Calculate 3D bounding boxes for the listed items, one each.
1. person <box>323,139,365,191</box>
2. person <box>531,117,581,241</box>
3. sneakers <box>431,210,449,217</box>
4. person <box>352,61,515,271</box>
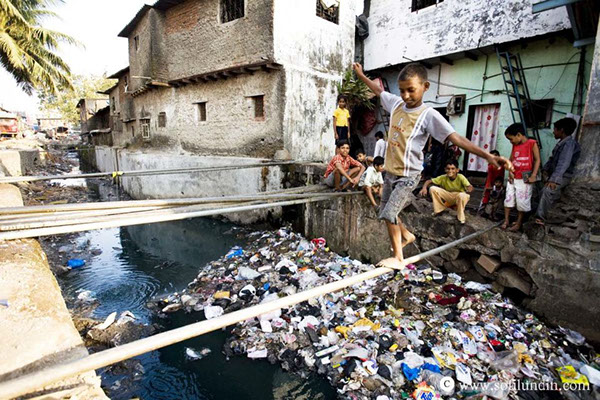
[{"bbox_3d":[0.829,-0.660,6.162,0.800,0.921,0.678,16,21,40],"label":"person"},{"bbox_3d":[3.824,-0.443,4.799,0.403,1.509,0.901,9,14,40],"label":"person"},{"bbox_3d":[2.350,0.220,5.502,0.295,0.106,0.118,4,0,19],"label":"sneakers"},{"bbox_3d":[1.280,-0.438,3.977,0.792,2.480,1.478,-8,13,-32],"label":"person"}]
